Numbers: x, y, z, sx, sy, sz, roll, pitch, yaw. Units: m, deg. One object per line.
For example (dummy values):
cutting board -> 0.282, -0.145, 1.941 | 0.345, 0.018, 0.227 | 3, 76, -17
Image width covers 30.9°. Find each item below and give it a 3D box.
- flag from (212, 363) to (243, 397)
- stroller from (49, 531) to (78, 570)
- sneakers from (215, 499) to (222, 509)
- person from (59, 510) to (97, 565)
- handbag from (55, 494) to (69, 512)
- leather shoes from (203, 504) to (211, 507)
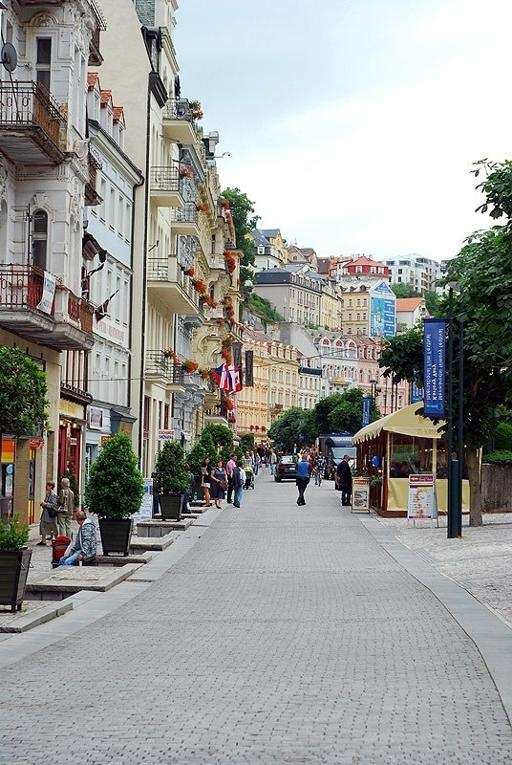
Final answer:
flag -> -1.956, -0.243, 62.544 | 0.301, 2.138, 2.990 | -1, 8, 19
stroller -> -3.564, 3.019, 16.974 | 0.553, 0.854, 0.639 | 3, -5, -3
sneakers -> -1.543, 5.086, 39.140 | 0.190, 0.276, 0.639 | 0, -13, -3
person -> -3.207, 2.974, 16.806 | 0.621, 1.255, 0.606 | 3, 3, -16
handbag -> -4.395, 2.735, 21.130 | 0.222, 0.404, 0.182 | 1, -6, -11
leather shoes -> -2.094, 5.239, 39.769 | 0.379, 0.171, 0.120 | 1, -3, 2
